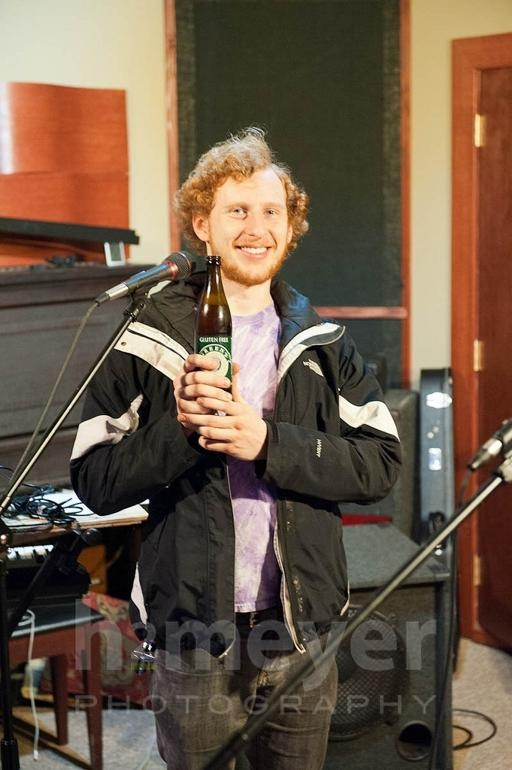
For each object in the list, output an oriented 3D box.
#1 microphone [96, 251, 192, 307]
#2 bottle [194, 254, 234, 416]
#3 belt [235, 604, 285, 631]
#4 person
[{"bbox_3d":[-0.164,-0.196,1.391,0.275,0.059,0.065,-25,17,-41],"label":"microphone"},{"bbox_3d":[-0.066,-0.101,1.167,0.054,0.195,0.148,-1,4,-3],"label":"bottle"},{"bbox_3d":[0.003,0.392,1.276,0.064,0.054,0.014,-8,0,0],"label":"belt"},{"bbox_3d":[-0.033,0.105,1.368,0.491,1.156,0.415,-4,5,-35],"label":"person"}]
